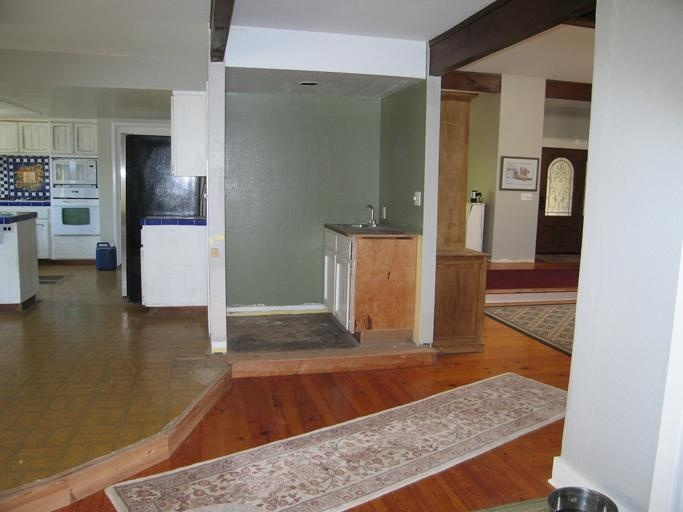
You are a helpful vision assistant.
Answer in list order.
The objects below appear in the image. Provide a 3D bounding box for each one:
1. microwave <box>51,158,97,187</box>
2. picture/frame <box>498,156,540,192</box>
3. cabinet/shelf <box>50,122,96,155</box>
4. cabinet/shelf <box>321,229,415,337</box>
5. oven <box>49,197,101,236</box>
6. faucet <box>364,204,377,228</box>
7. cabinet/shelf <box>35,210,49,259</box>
[{"bbox_3d":[-4.261,-1.339,8.068,0.774,0.519,0.398,0,11,-14],"label":"microwave"},{"bbox_3d":[3.060,-1.458,8.843,0.633,0.537,0.042,0,2,-20],"label":"picture/frame"},{"bbox_3d":[-4.325,-1.905,8.142,0.678,0.562,0.248,-6,32,-34],"label":"cabinet/shelf"},{"bbox_3d":[0.213,0.295,5.463,0.874,1.295,1.525,1,3,-5],"label":"cabinet/shelf"},{"bbox_3d":[-4.400,-0.654,8.348,0.703,0.640,0.495,-2,13,-29],"label":"oven"},{"bbox_3d":[0.341,-0.450,5.752,0.136,0.232,0.398,4,13,0],"label":"faucet"},{"bbox_3d":[-4.911,-0.364,8.340,0.190,0.824,0.197,0,13,-17],"label":"cabinet/shelf"}]
